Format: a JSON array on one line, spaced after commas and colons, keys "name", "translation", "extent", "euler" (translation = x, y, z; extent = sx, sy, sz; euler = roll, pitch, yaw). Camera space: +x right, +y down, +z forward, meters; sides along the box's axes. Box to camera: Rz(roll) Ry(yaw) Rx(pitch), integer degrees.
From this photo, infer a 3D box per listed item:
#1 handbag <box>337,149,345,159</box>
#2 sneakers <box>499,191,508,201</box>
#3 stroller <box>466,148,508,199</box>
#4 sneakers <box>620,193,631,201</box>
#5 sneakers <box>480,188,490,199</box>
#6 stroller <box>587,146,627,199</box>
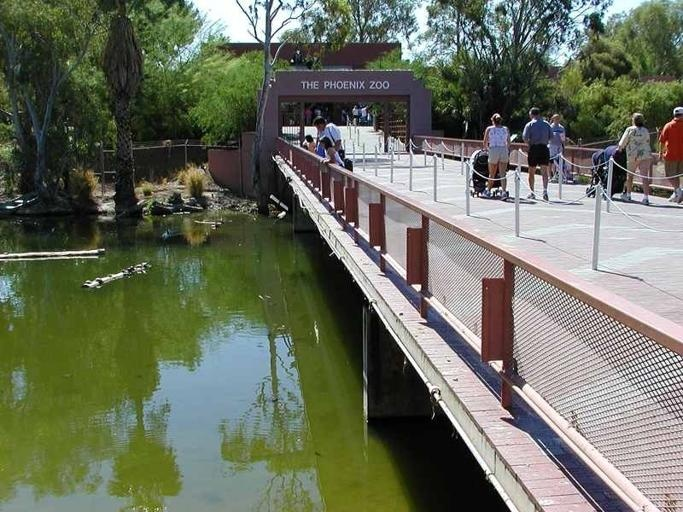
[{"name": "handbag", "translation": [0.011, -3.128, 19.066], "extent": [0.189, 0.338, 0.324], "euler": [1, 22, 5]}, {"name": "sneakers", "translation": [4.267, -1.585, 16.360], "extent": [0.120, 0.209, 0.428], "euler": [0, 16, 2]}, {"name": "stroller", "translation": [3.764, -2.297, 17.036], "extent": [0.668, 1.319, 1.096], "euler": [-2, 4, -13]}, {"name": "sneakers", "translation": [7.012, -1.465, 15.332], "extent": [0.101, 0.163, 0.328], "euler": [-1, 14, 9]}, {"name": "sneakers", "translation": [3.895, -1.692, 16.832], "extent": [0.109, 0.282, 0.378], "euler": [0, 25, -3]}, {"name": "stroller", "translation": [6.740, -2.378, 16.238], "extent": [0.830, 1.438, 0.835], "euler": [-6, 22, -1]}]
